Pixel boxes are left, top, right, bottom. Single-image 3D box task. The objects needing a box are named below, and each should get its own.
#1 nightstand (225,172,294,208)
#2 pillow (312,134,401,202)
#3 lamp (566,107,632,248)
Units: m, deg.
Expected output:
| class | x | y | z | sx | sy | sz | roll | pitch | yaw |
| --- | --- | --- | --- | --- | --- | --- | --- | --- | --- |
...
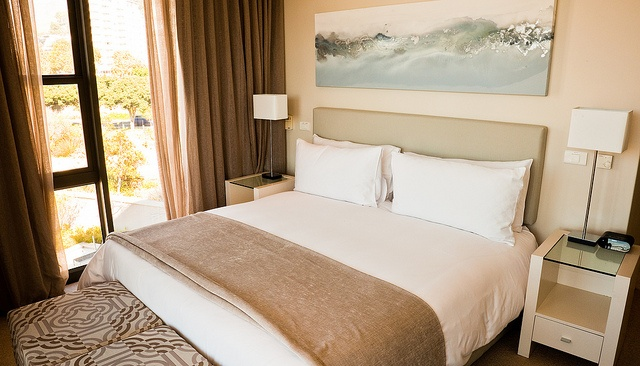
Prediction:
| class | x | y | z | sx | sy | sz | roll | pitch | yaw |
| --- | --- | --- | --- | --- | --- | --- | --- | --- | --- |
| nightstand | -0.790 | 0.138 | 5.336 | 0.546 | 0.459 | 0.566 | 1 | 11 | 45 |
| pillow | 0.594 | -0.125 | 4.676 | 0.928 | 0.787 | 0.261 | 6 | -3 | 19 |
| lamp | 2.551 | -0.083 | 3.888 | 0.458 | 1.252 | 0.492 | 12 | 24 | 32 |
